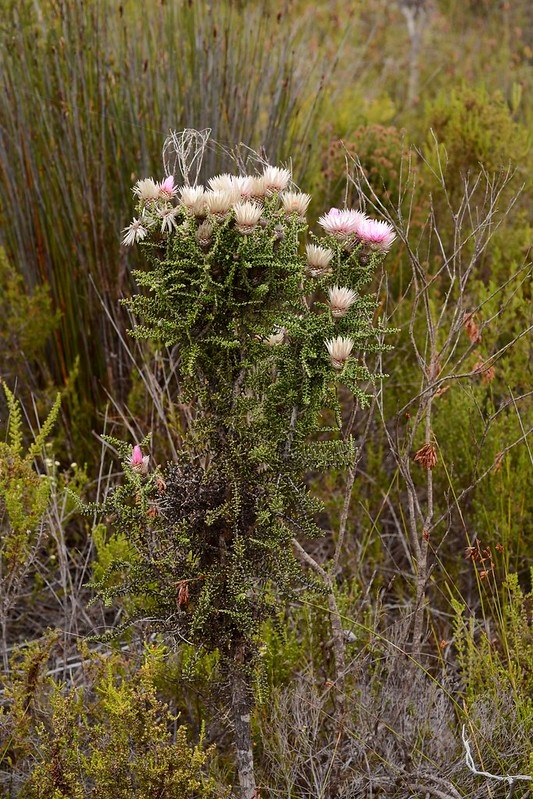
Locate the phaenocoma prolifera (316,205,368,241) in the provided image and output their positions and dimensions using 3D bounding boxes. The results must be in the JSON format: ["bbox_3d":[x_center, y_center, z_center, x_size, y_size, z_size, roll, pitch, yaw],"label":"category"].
[{"bbox_3d":[0.136,-0.331,1.837,0.067,0.053,0.066,-16,16,-42],"label":"phaenocoma prolifera"}]

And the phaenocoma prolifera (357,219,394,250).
[{"bbox_3d":[0.207,-0.292,1.826,0.055,0.043,0.059,21,-4,24],"label":"phaenocoma prolifera"}]

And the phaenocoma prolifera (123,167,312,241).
[{"bbox_3d":[-0.070,-0.365,1.840,0.206,0.104,0.217,-11,-1,30],"label":"phaenocoma prolifera"}]

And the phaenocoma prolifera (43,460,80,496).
[{"bbox_3d":[-0.523,0.207,2.484,0.083,0.087,0.094,-5,10,-21],"label":"phaenocoma prolifera"}]

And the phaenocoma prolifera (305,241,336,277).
[{"bbox_3d":[0.097,-0.259,1.800,0.048,0.060,0.053,7,7,27],"label":"phaenocoma prolifera"}]

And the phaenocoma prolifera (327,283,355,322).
[{"bbox_3d":[0.130,-0.176,1.747,0.046,0.056,0.052,9,13,-5],"label":"phaenocoma prolifera"}]

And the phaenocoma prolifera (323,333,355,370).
[{"bbox_3d":[0.128,-0.084,1.714,0.048,0.060,0.055,-1,8,9],"label":"phaenocoma prolifera"}]
